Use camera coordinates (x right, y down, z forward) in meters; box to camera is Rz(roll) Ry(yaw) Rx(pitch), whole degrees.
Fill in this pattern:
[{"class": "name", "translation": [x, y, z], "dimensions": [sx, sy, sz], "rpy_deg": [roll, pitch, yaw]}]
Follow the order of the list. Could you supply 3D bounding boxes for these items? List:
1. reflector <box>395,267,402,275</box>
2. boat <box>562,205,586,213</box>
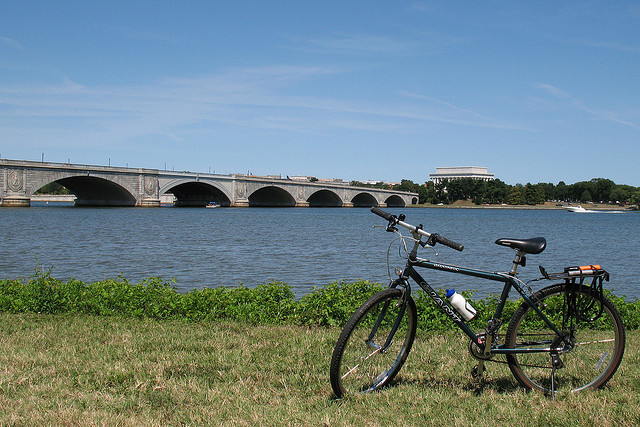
[{"class": "reflector", "translation": [1.185, 0.881, 11.210], "dimensions": [0.105, 0.123, 0.122], "rpy_deg": [1, 11, 5]}, {"class": "boat", "translation": [51.031, -0.970, 148.655], "dimensions": [2.399, 1.711, 7.022], "rpy_deg": [2, 1, -34]}]
